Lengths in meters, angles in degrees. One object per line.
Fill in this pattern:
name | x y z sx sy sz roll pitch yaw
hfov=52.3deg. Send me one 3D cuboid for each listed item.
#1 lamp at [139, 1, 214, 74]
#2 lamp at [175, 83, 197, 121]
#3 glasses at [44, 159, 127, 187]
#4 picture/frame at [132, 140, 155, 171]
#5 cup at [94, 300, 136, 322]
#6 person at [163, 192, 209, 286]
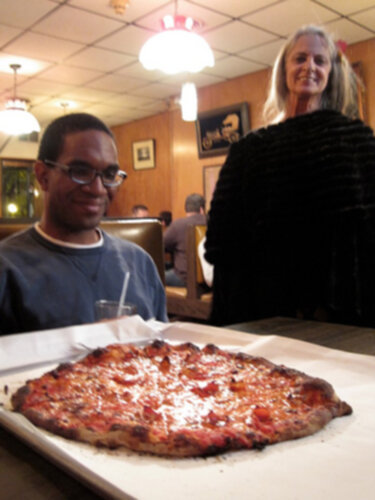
lamp | -0.082 -1.669 3.009 0.577 0.440 0.402 1 1 -6
lamp | 0.017 -1.987 4.993 0.208 0.558 0.479 1 1 -1
glasses | -0.281 -0.204 1.013 0.186 0.075 0.090 1 1 -19
picture/frame | -0.879 -1.920 7.721 0.068 0.621 0.685 -3 7 -43
cup | -0.176 0.150 0.915 0.070 0.050 0.056 12 -14 -39
person | 0.012 -0.085 4.769 0.681 1.104 0.683 2 -3 -28
